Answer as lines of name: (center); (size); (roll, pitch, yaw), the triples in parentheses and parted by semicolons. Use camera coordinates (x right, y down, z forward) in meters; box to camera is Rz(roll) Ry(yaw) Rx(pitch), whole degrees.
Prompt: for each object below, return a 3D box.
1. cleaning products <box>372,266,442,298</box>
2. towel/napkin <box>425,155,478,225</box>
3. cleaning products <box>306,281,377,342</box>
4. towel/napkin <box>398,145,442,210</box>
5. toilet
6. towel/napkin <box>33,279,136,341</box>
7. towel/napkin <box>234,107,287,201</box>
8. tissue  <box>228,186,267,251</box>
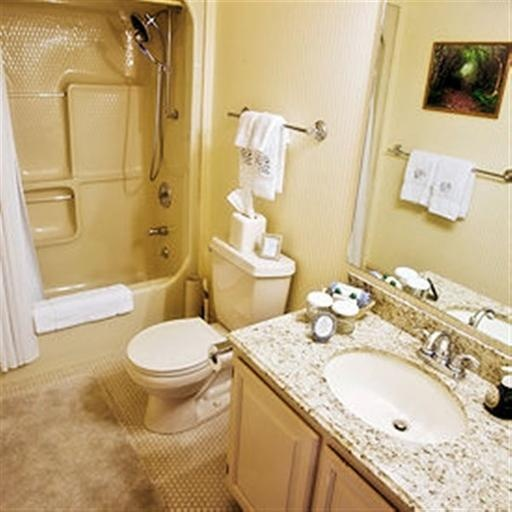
cleaning products: (0.499, 0.071, 1.498); (0.054, 0.060, 0.199); (-20, 19, -17)
towel/napkin: (0.559, -0.196, 1.262); (0.030, 0.160, 0.127); (-1, 16, -35)
cleaning products: (0.276, 0.176, 1.521); (0.143, 0.082, 0.209); (17, 25, 24)
towel/napkin: (0.495, -0.243, 1.360); (0.029, 0.148, 0.122); (-6, 24, -25)
toilet: (-0.251, 0.378, 2.073); (0.699, 0.839, 0.445); (-16, 32, -35)
towel/napkin: (-0.872, 0.275, 2.284); (0.493, 0.175, 0.111); (-9, 23, -30)
towel/napkin: (0.027, -0.432, 1.860); (0.149, 0.445, 0.265); (-10, 20, -40)
tissue : (-0.064, -0.184, 2.021); (0.112, 0.230, 0.116); (-2, 12, 9)
